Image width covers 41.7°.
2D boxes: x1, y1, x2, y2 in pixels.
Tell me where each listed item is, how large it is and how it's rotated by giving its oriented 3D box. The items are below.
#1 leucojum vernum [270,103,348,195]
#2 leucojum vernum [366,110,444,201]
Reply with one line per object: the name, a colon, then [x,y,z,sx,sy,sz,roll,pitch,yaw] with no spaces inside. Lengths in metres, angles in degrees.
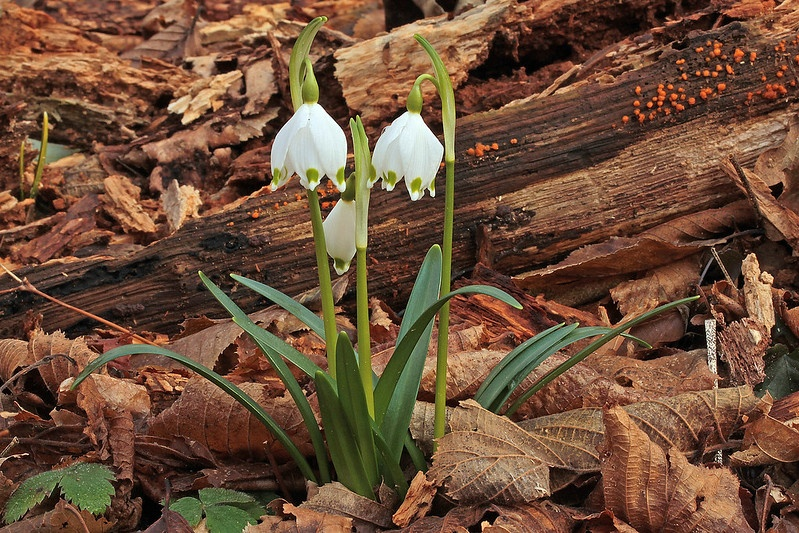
leucojum vernum: [-0.523,-0.657,5.596,0.491,0.570,0.438,2,12,-13]
leucojum vernum: [0.044,-0.629,5.630,0.384,0.456,0.386,9,3,12]
